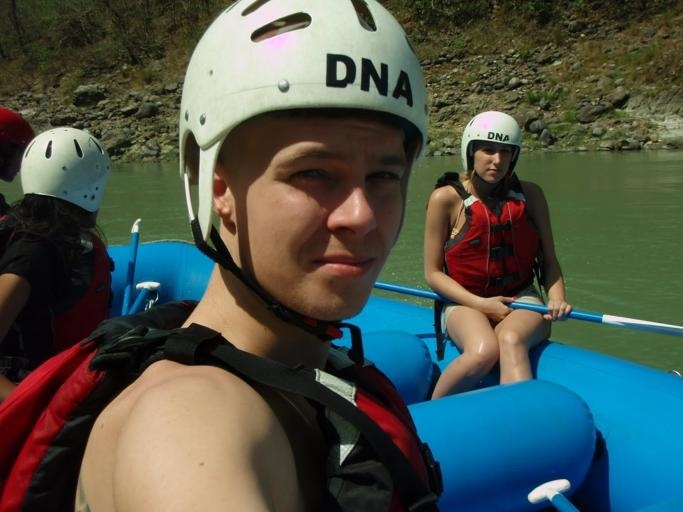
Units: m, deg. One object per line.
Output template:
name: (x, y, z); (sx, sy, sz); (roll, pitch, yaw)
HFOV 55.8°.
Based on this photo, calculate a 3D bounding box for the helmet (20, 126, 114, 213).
helmet: (-1.548, -0.488, 3.685); (0.345, 0.471, 0.481); (1, 0, 28)

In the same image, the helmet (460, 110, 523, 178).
helmet: (1.012, -0.727, 4.387); (0.428, 0.454, 0.437); (10, 0, 43)
